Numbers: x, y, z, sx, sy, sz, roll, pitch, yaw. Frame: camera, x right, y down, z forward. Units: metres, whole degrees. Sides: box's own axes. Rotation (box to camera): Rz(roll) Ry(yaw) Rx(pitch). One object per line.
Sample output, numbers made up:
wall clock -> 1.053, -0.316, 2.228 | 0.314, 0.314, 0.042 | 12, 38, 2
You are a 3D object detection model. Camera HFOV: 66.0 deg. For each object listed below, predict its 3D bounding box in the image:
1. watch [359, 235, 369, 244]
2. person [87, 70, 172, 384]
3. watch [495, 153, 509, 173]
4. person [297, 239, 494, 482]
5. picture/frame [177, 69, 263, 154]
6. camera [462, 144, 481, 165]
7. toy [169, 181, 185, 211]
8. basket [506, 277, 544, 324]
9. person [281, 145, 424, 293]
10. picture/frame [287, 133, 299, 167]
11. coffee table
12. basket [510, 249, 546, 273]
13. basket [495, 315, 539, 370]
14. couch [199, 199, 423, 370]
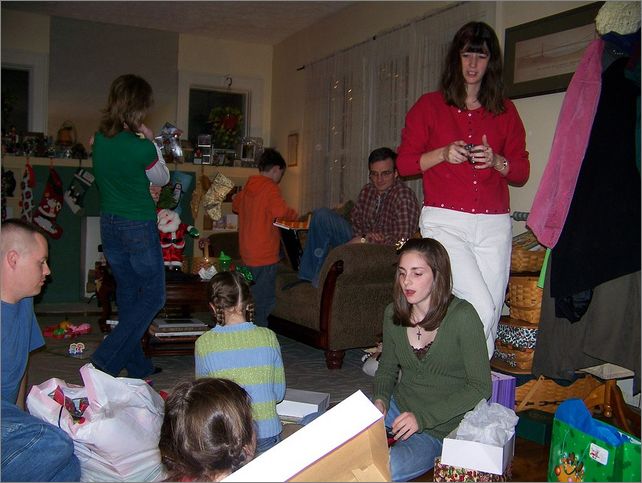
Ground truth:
watch -> 0.324, -0.015, 3.707 | 0.048, 0.047, 0.047 | -1, -11, 8
person -> -1.141, -0.102, 2.960 | 0.430, 1.739, 0.399 | 0, 8, -25
watch -> 0.756, -0.317, 2.074 | 0.034, 0.077, 0.056 | -24, 21, 48
person -> 0.426, 0.475, 2.013 | 0.441, 0.976, 0.500 | 3, 7, -8
picture/frame -> -1.410, -1.734, 6.630 | 1.510, 1.326, 0.175 | 2, -2, -23
camera -> 0.592, -0.341, 1.974 | 0.070, 0.069, 0.037 | 10, 15, 22
toy -> -1.506, -0.475, 5.176 | 0.100, 0.124, 0.312 | 8, 44, -10
basket -> 1.142, 0.329, 2.774 | 0.208, 0.176, 0.223 | -2, 1, -35
person -> 0.289, -0.139, 3.832 | 0.951, 1.142, 0.809 | -4, 14, -40
picture/frame -> -0.367, -1.185, 6.465 | 0.055, 0.554, 0.398 | -3, 8, -24
coffee table -> -1.411, 0.568, 4.258 | 1.001, 0.656, 1.349 | 4, -6, -21
basket -> 1.212, 0.114, 2.889 | 0.148, 0.100, 0.203 | 1, -2, -5
basket -> 1.130, 0.580, 2.808 | 0.236, 0.206, 0.281 | -13, 1, 2
couch -> -0.084, 0.473, 4.286 | 0.820, 0.868, 1.734 | 2, 0, -33
